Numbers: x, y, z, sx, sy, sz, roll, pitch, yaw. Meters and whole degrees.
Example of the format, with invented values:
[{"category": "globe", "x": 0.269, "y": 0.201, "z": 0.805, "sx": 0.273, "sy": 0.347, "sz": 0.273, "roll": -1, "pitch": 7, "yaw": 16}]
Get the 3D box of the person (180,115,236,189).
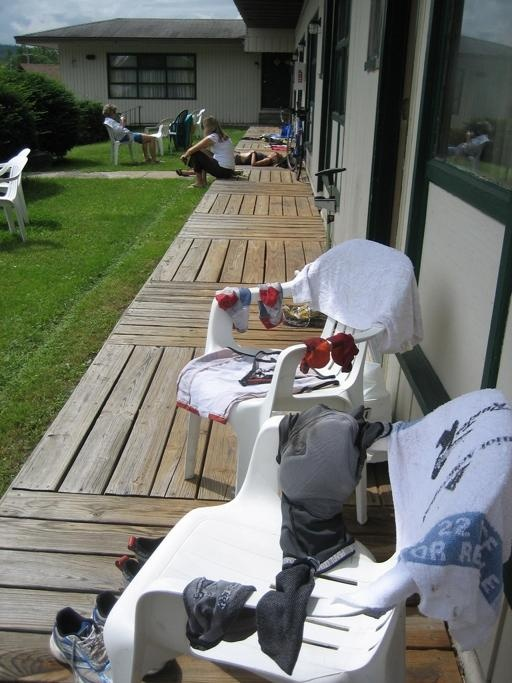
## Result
[{"category": "person", "x": -0.824, "y": -3.436, "z": 9.048, "sx": 1.061, "sy": 1.175, "sz": 0.751, "roll": -7, "pitch": 23, "yaw": -21}]
